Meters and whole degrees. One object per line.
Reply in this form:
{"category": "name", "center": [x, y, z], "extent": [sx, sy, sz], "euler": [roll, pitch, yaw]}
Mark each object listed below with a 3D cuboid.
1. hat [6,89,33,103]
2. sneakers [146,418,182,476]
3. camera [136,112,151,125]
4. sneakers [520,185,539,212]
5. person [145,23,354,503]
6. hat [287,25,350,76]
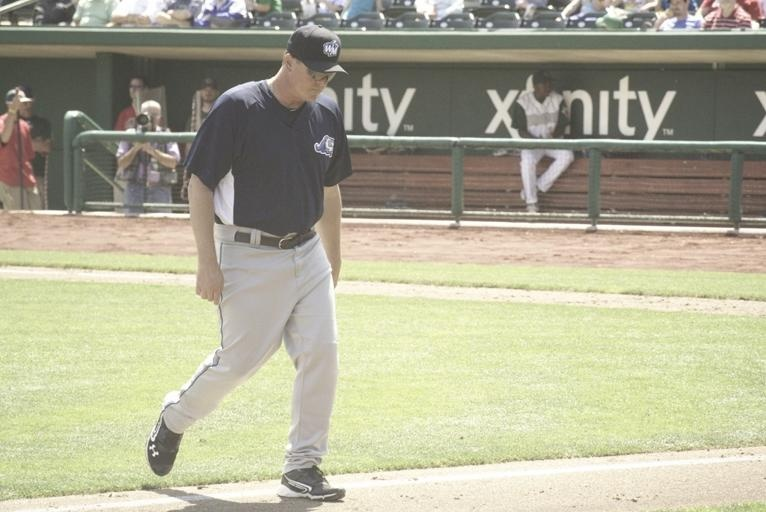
{"category": "hat", "center": [-5.471, -2.428, 22.186], "extent": [0.338, 0.293, 1.022], "euler": [-2, 13, -12]}
{"category": "sneakers", "center": [-1.820, 1.623, 12.368], "extent": [0.248, 0.524, 0.218], "euler": [-15, -28, 36]}
{"category": "camera", "center": [-3.461, -2.029, 21.486], "extent": [0.205, 0.167, 0.193], "euler": [-12, 12, 10]}
{"category": "sneakers", "center": [2.116, -0.846, 21.634], "extent": [0.174, 0.413, 0.180], "euler": [-25, 3, 24]}
{"category": "person", "center": [-1.046, 0.008, 12.316], "extent": [1.534, 3.811, 1.102], "euler": [0, 14, -1]}
{"category": "hat", "center": [-0.552, -1.733, 12.329], "extent": [0.516, 0.258, 0.353], "euler": [30, 26, 20]}
